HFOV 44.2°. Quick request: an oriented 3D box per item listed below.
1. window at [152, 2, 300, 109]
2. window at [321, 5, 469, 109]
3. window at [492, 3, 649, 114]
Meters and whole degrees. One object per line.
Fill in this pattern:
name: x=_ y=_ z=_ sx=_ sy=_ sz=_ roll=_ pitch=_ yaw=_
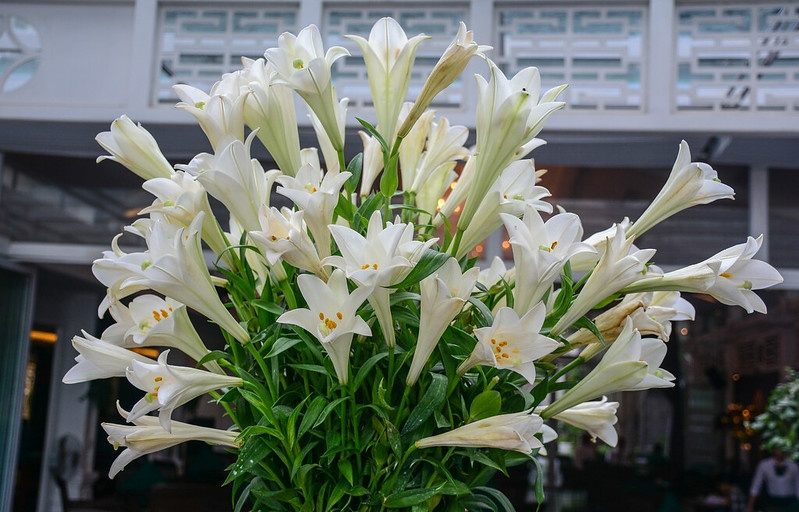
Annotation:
window: x=-1.149 y=-1.342 z=6.559 sx=1.090 sy=1.096 sz=0.090 roll=1 pitch=-5 yaw=-1
window: x=-0.033 y=-1.286 z=6.224 sx=1.052 sy=1.097 sz=0.053 roll=-1 pitch=2 yaw=-2
window: x=1.251 y=-1.380 z=6.878 sx=1.102 sy=0.984 sz=0.056 roll=0 pitch=-2 yaw=6
